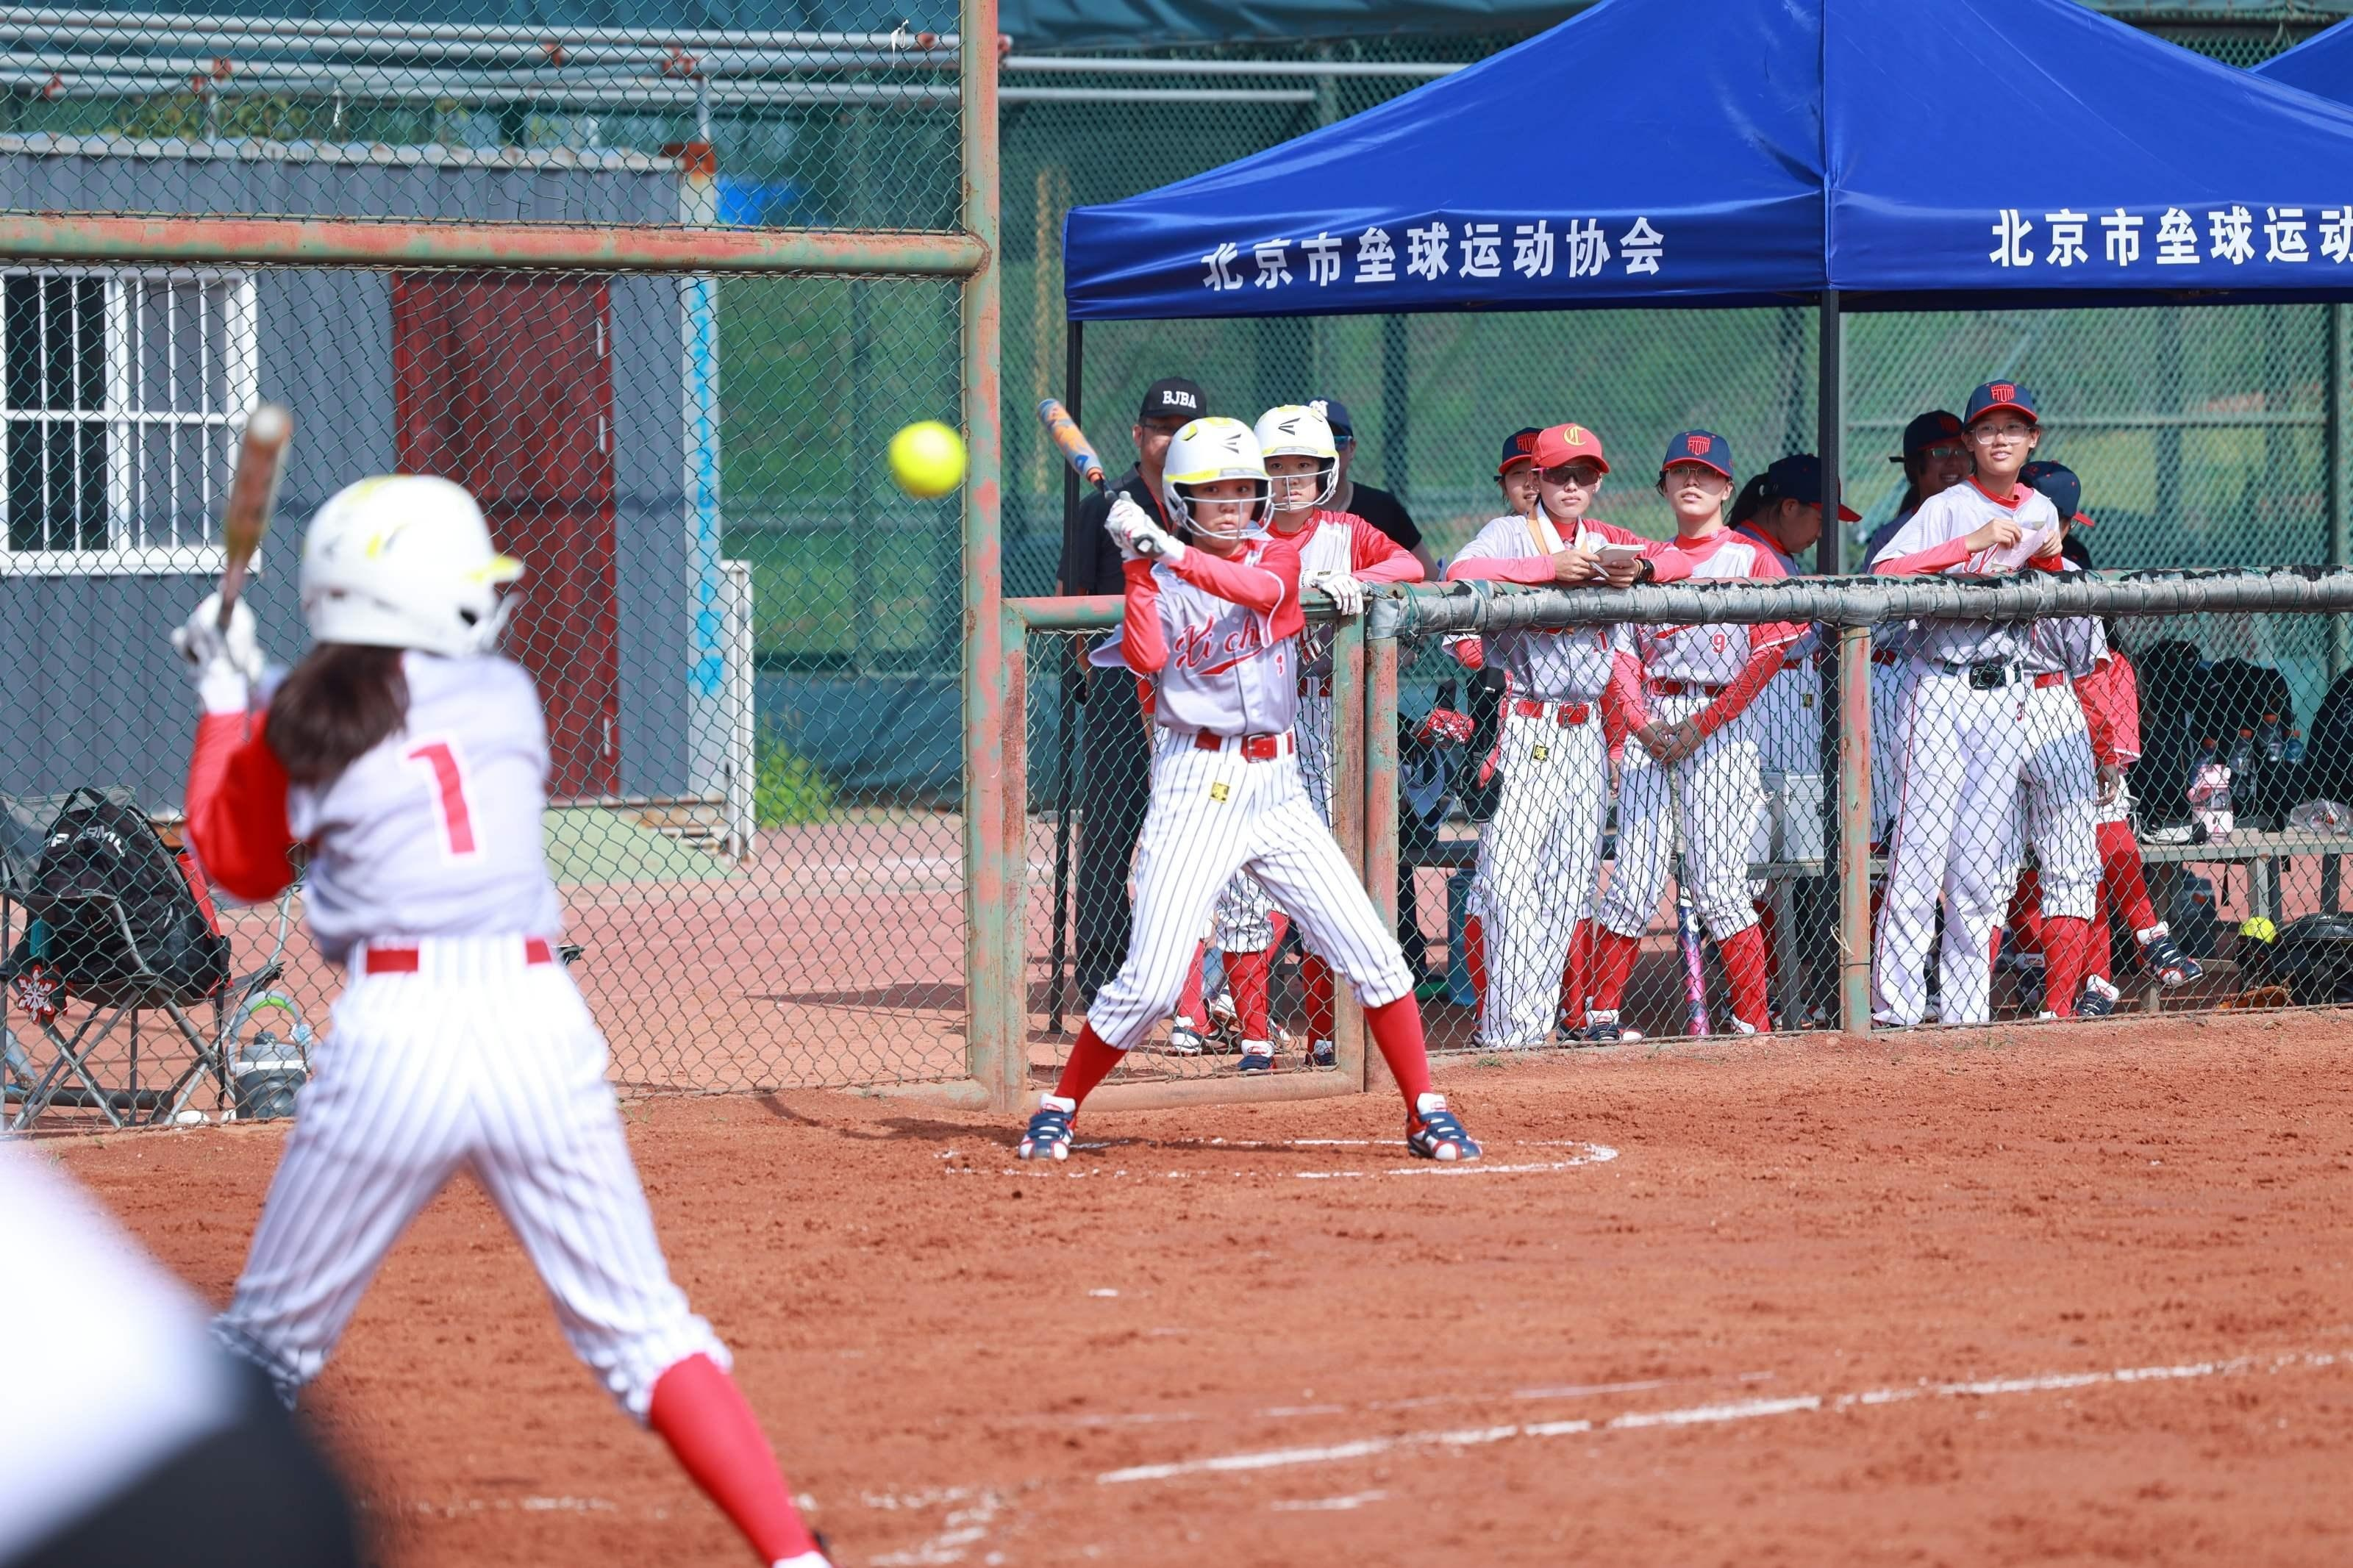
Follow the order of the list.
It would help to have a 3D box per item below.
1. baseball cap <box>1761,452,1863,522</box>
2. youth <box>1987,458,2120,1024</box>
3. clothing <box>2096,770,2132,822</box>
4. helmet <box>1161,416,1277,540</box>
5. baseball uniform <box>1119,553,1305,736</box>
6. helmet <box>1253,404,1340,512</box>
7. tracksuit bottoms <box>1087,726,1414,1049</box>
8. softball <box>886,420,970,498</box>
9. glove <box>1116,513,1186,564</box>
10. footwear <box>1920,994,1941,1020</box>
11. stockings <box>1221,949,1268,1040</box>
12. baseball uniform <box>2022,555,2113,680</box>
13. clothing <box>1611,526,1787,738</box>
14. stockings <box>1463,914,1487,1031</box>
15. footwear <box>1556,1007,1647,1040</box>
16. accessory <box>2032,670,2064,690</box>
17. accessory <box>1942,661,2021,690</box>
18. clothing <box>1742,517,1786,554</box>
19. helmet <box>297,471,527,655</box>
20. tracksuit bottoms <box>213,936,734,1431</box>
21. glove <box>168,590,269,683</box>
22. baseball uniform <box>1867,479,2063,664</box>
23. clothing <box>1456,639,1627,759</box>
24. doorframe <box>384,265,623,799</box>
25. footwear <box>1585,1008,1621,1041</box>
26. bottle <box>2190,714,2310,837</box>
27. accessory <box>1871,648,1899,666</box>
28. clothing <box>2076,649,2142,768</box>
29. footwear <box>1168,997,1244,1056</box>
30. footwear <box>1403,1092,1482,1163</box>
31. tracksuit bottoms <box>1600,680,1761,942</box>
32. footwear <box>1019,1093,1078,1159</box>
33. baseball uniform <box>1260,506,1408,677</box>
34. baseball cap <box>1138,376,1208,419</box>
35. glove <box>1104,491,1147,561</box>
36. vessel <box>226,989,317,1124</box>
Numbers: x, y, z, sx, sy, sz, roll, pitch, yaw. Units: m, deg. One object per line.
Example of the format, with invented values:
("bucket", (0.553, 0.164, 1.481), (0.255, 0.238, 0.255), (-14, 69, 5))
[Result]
("baseball cap", (2.527, -1.147, 13.081), (0.432, 0.264, 0.273), (8, 5, 4))
("youth", (3.135, -0.141, 12.304), (0.551, 2.019, 0.511), (-2, -1, -26))
("clothing", (3.474, 0.065, 12.398), (0.064, 0.206, 0.150), (0, 21, 35))
("helmet", (0.120, -0.974, 10.677), (0.334, 0.388, 0.386), (2, 20, 0))
("baseball uniform", (0.128, -0.441, 10.565), (0.432, 0.524, 0.300), (-5, -34, 6))
("helmet", (0.424, -1.087, 11.149), (0.289, 0.319, 0.375), (-3, 12, -2))
("tracksuit bottoms", (0.246, 0.237, 10.670), (1.137, 1.526, 0.438), (-1, 37, 6))
("softball", (-0.763, -0.996, 10.449), (0.188, 0.205, 0.211), (-1, 7, 5))
("glove", (-0.090, -0.784, 10.474), (0.199, 0.094, 0.151), (39, -1, 39))
("footwear", (2.788, 0.828, 12.310), (0.080, 0.100, 0.097), (7, 0, 17))
("stockings", (0.256, 0.755, 11.966), (0.108, 0.286, 0.321), (-12, 25, -16))
("baseball uniform", (3.200, -0.574, 12.083), (0.417, 0.406, 0.190), (-2, -4, -24))
("clothing", (1.865, -0.512, 12.024), (0.616, 0.700, 0.364), (10, 10, 38))
("stockings", (1.103, 0.684, 12.430), (0.052, 0.413, 0.079), (-11, -1, 32))
("footwear", (1.530, 0.859, 12.140), (0.354, 0.175, 0.124), (-2, 0, 9))
("accessory", (3.155, -0.360, 12.134), (0.098, 0.060, 0.024), (-7, 11, -9))
("accessory", (2.896, -0.376, 12.059), (0.191, 0.118, 0.048), (-1, 13, 4))
("clothing", (2.292, -0.954, 13.129), (0.192, 0.047, 0.152), (37, 6, 23))
("helmet", (-1.989, -0.592, 8.727), (0.559, 0.498, 0.595), (9, 9, 0))
("tracksuit bottoms", (-1.937, 1.141, 9.142), (1.230, 0.714, 0.425), (2, 22, -4))
("glove", (-2.487, -0.355, 8.685), (0.200, 0.279, 0.123), (7, -10, -39))
("baseball uniform", (2.963, -0.714, 12.242), (0.759, 0.781, 0.519), (6, -11, -24))
("clothing", (1.310, -0.330, 11.859), (0.444, 0.357, 0.316), (-6, 26, -1))
("doorframe", (-3.190, -1.139, 15.836), (1.067, 2.966, 0.272), (1, -29, -15))
("footwear", (1.560, 0.875, 12.146), (0.088, 0.090, 0.119), (-1, 7, 0))
("bottle", (4.081, -0.029, 12.778), (0.274, 0.430, 0.642), (4, 9, 44))
("accessory", (2.712, -0.470, 12.808), (0.146, 0.085, 0.034), (-1, 11, -41))
("clothing", (3.432, -0.239, 12.421), (0.261, 0.448, 0.110), (2, -9, -28))
("footwear", (0.131, 0.921, 12.485), (0.122, 0.184, 0.378), (1, 4, 31))
("footwear", (0.841, 1.092, 10.752), (0.146, 0.169, 0.278), (1, 3, -30))
("tracksuit bottoms", (1.820, 0.297, 12.211), (0.655, 0.333, 1.580), (-1, 46, 10))
("footwear", (-0.406, 1.095, 10.614), (0.110, 0.119, 0.274), (3, 20, 8))
("baseball uniform", (0.526, -0.618, 11.340), (0.552, 0.245, 0.176), (8, 18, -13))
("baseball cap", (-0.004, -1.445, 12.369), (0.259, 0.196, 0.341), (1, -2, -10))
("glove", (-0.148, -0.801, 10.561), (0.100, 0.141, 0.237), (20, 19, -22))
("vessel", (-3.056, 0.933, 11.294), (0.307, 0.445, 0.256), (-3, 8, -44))
